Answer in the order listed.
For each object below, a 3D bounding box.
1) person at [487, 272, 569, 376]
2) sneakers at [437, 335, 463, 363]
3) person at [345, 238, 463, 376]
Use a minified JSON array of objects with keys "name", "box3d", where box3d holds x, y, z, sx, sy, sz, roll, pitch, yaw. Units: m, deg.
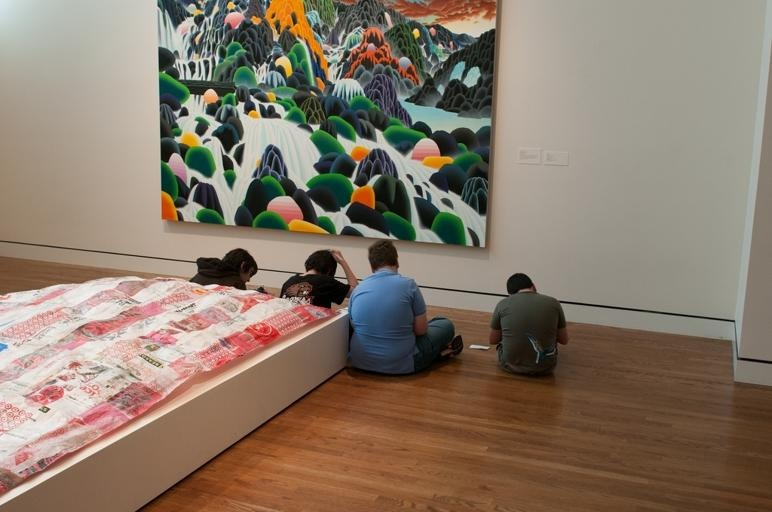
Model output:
[{"name":"person","box3d":[1.132,0.593,4.049,0.553,0.867,0.728,-2,10,8]},{"name":"sneakers","box3d":[0.569,0.805,4.168,0.105,0.126,0.291,15,30,33]},{"name":"person","box3d":[0.102,0.387,4.144,0.918,1.011,0.991,3,11,25]}]
